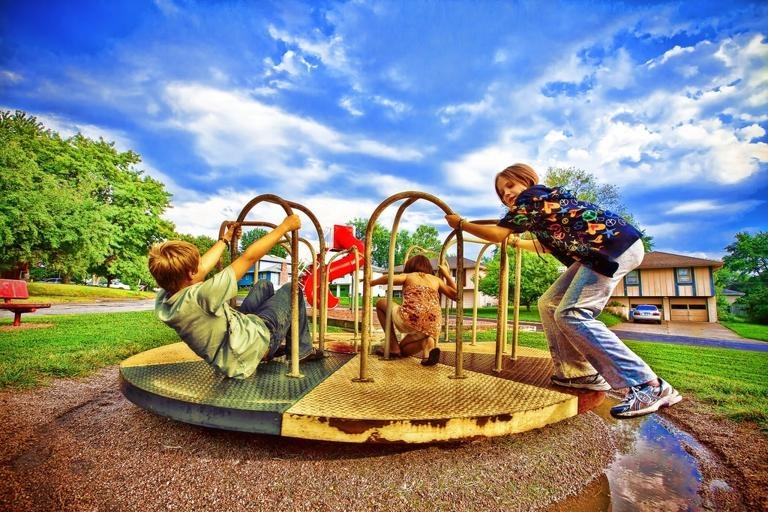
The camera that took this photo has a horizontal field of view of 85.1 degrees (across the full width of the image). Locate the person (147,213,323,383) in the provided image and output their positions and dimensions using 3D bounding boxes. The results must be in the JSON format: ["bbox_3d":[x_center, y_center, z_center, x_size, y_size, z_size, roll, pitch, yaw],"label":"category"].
[{"bbox_3d":[-1.674,0.439,4.485,1.387,1.722,0.577,-6,16,-28],"label":"person"}]

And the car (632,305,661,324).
[{"bbox_3d":[15.974,3.532,25.576,1.148,0.771,2.507,-1,-5,29],"label":"car"}]

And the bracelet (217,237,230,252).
[{"bbox_3d":[-1.761,-0.129,4.573,0.145,0.057,0.143,44,-1,-12],"label":"bracelet"}]

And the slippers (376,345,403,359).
[{"bbox_3d":[0.024,1.319,5.701,0.458,0.171,0.156,2,-1,37],"label":"slippers"}]

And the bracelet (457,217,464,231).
[{"bbox_3d":[0.853,-0.358,4.612,0.044,0.102,0.088,6,0,-1],"label":"bracelet"}]

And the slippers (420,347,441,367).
[{"bbox_3d":[0.574,1.249,5.177,0.208,0.235,0.162,4,14,13],"label":"slippers"}]
